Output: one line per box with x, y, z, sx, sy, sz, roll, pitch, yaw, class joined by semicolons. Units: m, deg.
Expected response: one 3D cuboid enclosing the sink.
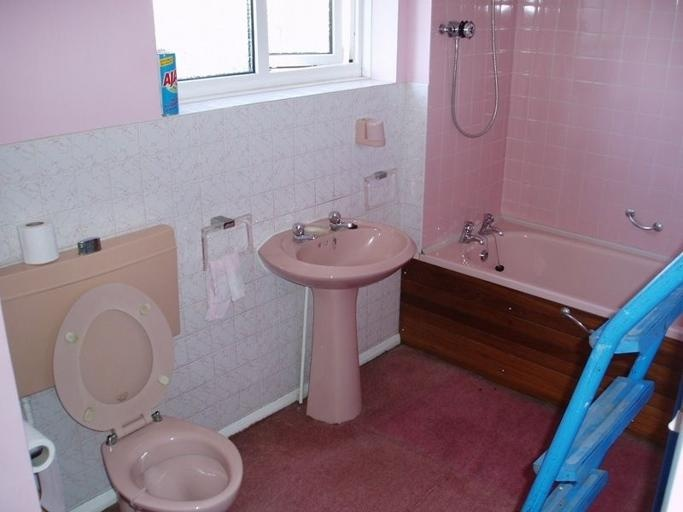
-0.019;0.026;2.531;0.757;0.196;0.508;-8;32;-10;sink

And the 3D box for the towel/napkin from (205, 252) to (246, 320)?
-0.557;0.129;2.422;0.076;0.282;0.236;10;21;32;towel/napkin

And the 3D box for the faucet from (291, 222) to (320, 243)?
-0.185;-0.133;2.606;0.088;0.051;0.128;-1;28;11;faucet

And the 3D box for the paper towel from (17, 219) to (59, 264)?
-1.082;-0.065;1.842;0.154;0.148;0.161;-4;26;-23;paper towel

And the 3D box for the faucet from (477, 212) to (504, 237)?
1.011;-0.212;3.389;0.206;0.158;0.100;16;29;41;faucet

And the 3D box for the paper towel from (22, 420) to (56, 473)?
-0.694;0.464;1.222;0.069;0.079;0.098;-3;-10;-10;paper towel
